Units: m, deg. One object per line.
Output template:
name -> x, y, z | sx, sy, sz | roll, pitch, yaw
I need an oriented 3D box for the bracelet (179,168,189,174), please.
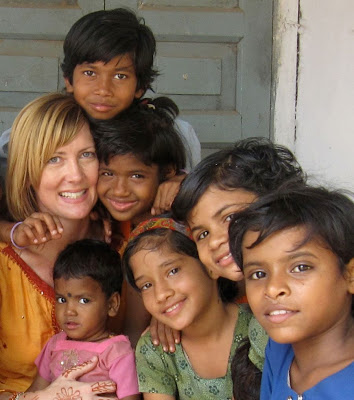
bracelet -> 0.037, -0.136, 2.323 | 0.053, 0.010, 0.048 | 7, 16, 17

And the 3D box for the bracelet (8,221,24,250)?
bracelet -> -0.635, 0.141, 1.908 | 0.049, 0.110, 0.127 | -4, 3, -19
